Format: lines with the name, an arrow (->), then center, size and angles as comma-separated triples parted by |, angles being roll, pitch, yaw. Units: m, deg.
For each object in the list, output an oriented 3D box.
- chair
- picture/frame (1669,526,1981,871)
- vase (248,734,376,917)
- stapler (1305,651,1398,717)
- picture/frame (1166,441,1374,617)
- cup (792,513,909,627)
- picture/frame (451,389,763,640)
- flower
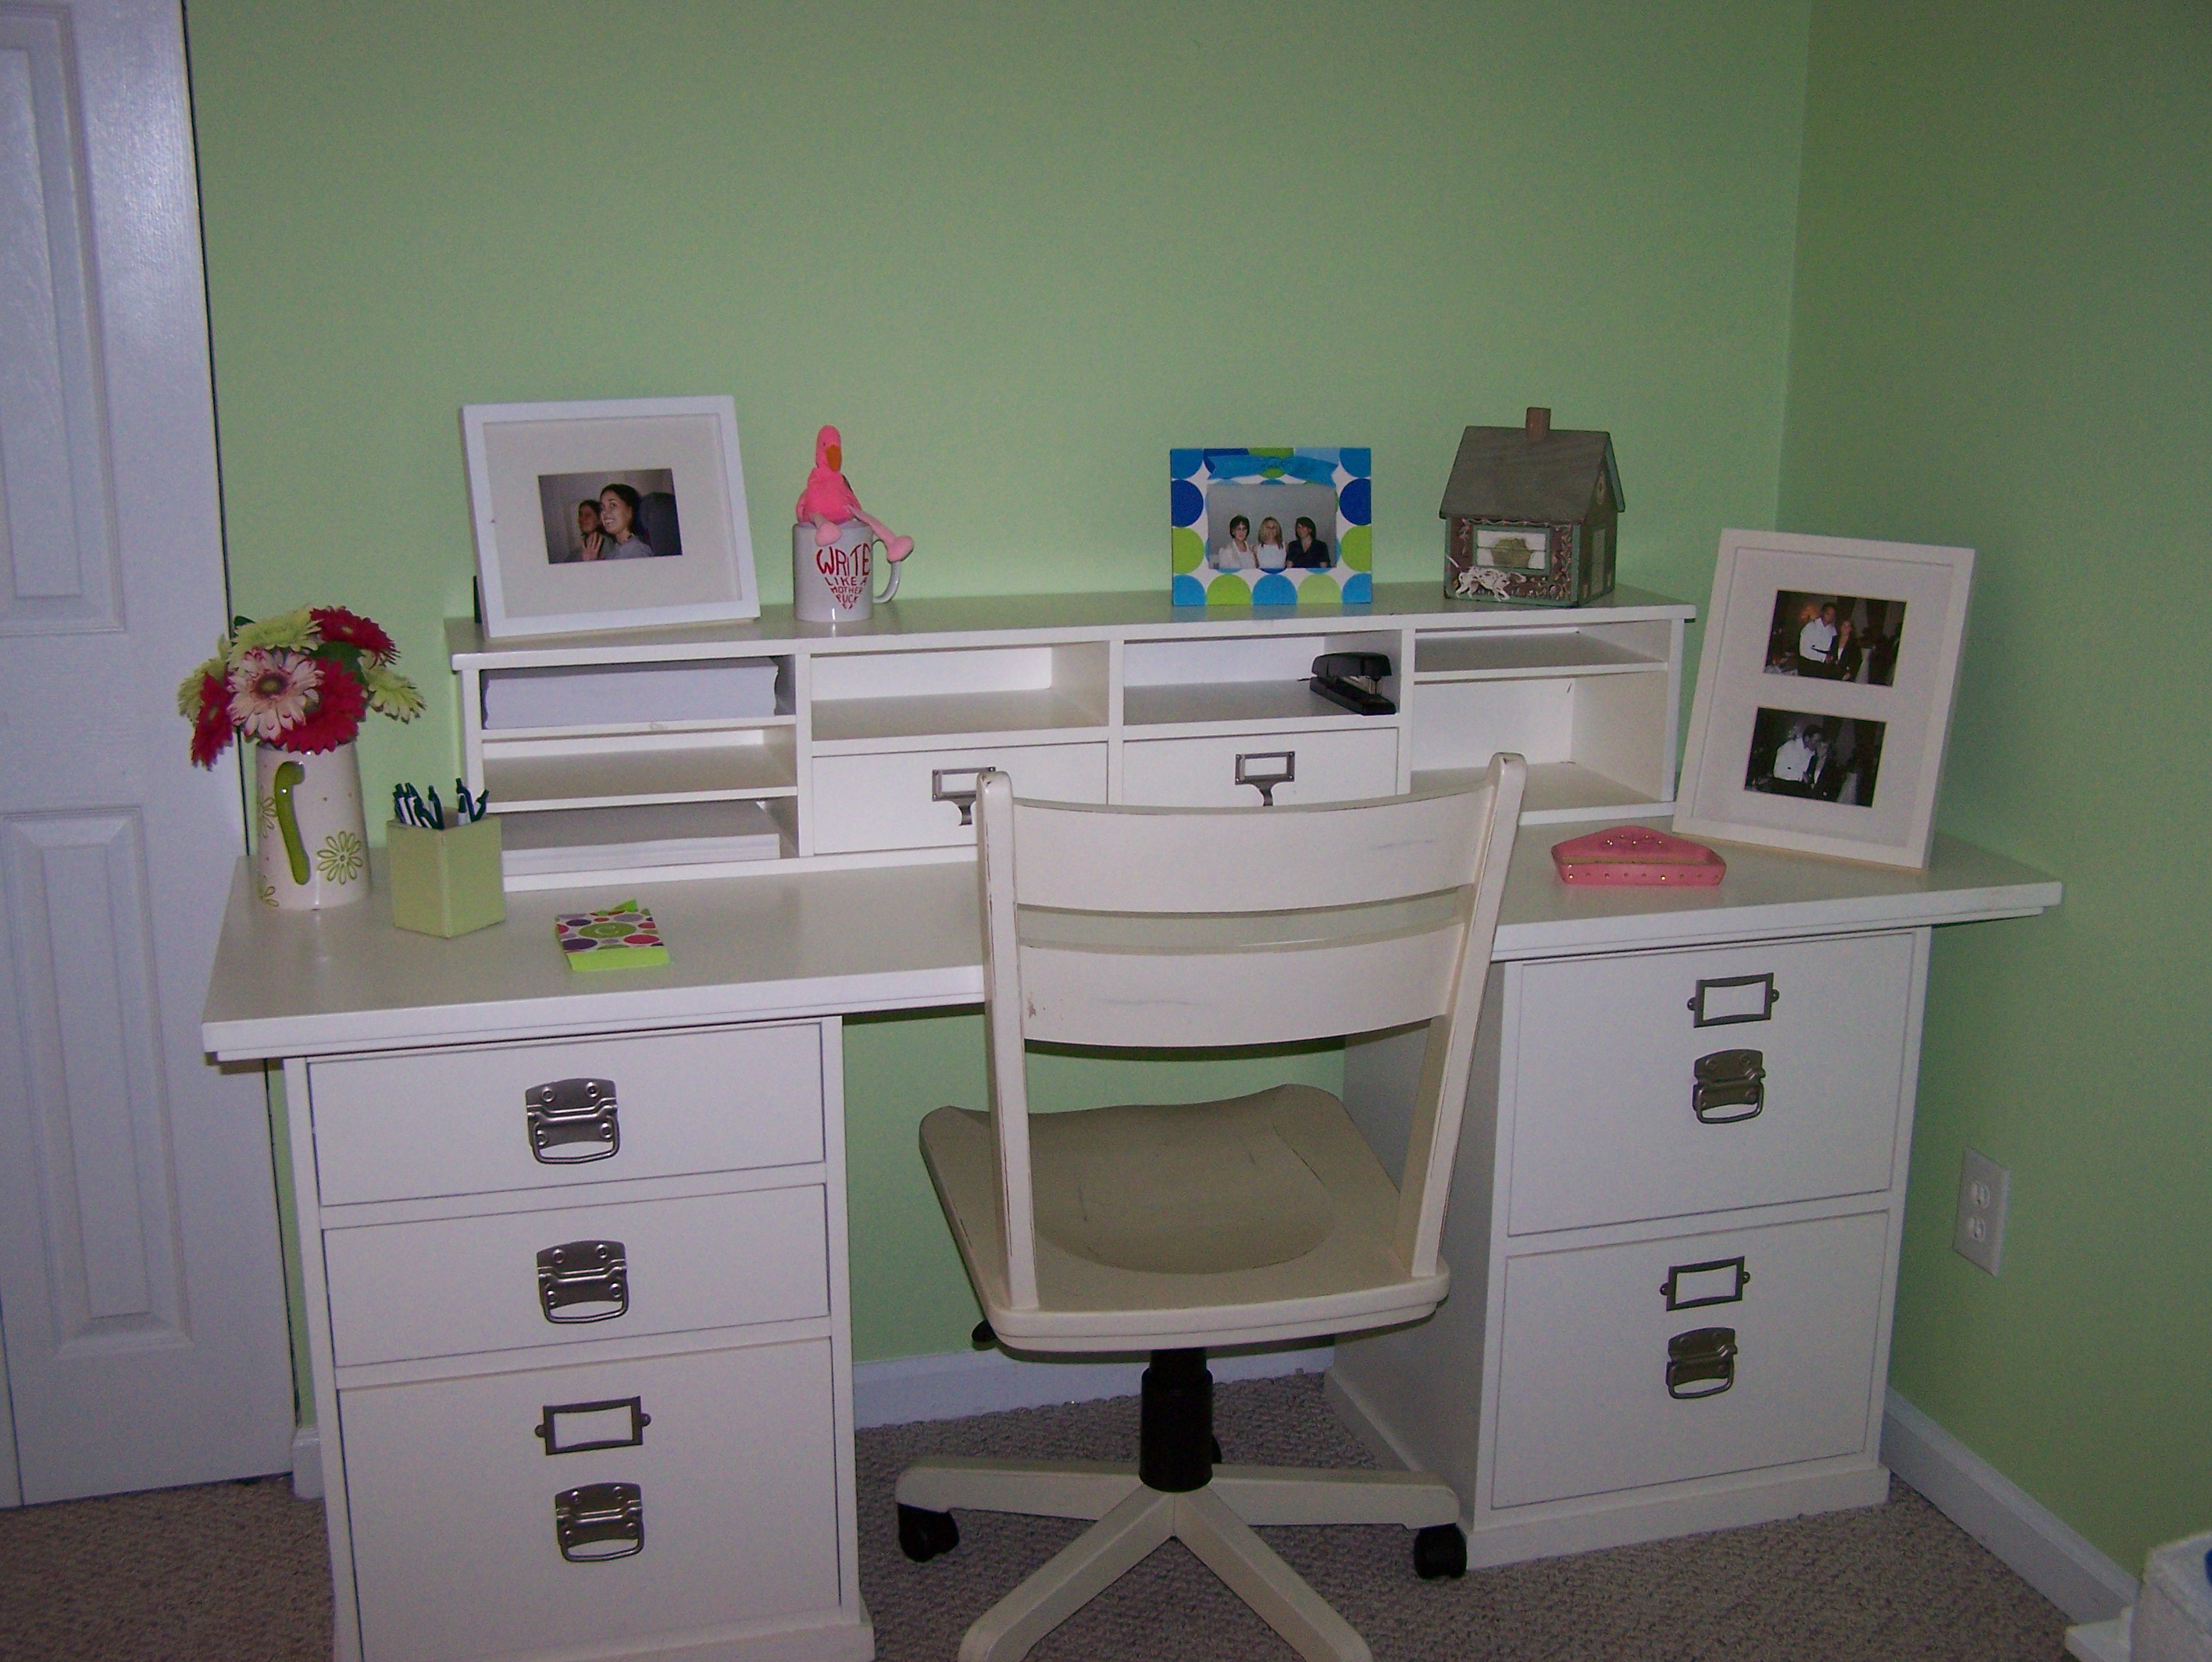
chair -> 0.142, 0.473, 2.337 | 0.795, 1.279, 0.812 | -3, 24, -11
picture/frame -> 1.002, -0.171, 2.558 | 0.368, 0.517, 0.033 | 12, 3, 31
vase -> -1.020, -0.022, 2.390 | 0.126, 0.218, 0.128 | 2, 11, 18
stapler -> 0.359, -0.209, 2.658 | 0.061, 0.056, 0.138 | -1, 15, -7
picture/frame -> 0.231, -0.427, 2.651 | 0.233, 0.188, 0.010 | -1, 1, -9
cup -> -0.363, -0.345, 2.565 | 0.167, 0.137, 0.107 | -3, 11, -22
picture/frame -> -0.666, -0.416, 2.466 | 0.308, 0.275, 0.044 | -5, -3, -21
flower -> -1.027, -0.192, 2.407 | 0.306, 0.188, 0.243 | -15, 22, -35
